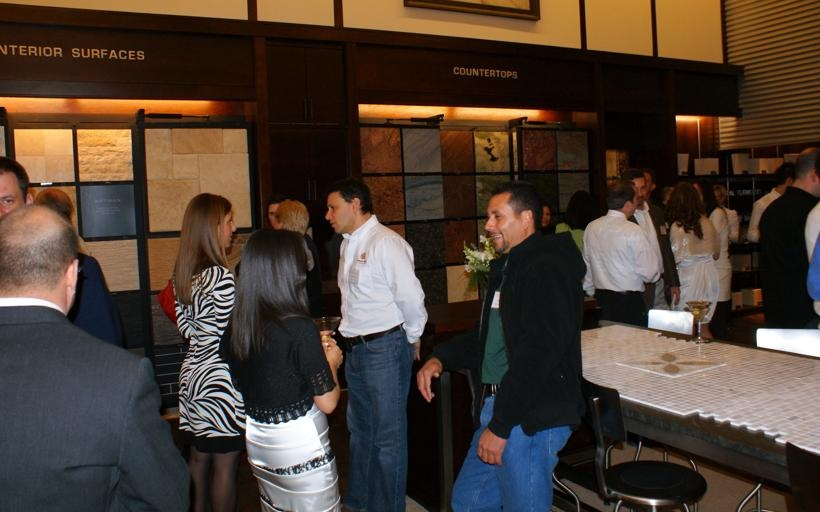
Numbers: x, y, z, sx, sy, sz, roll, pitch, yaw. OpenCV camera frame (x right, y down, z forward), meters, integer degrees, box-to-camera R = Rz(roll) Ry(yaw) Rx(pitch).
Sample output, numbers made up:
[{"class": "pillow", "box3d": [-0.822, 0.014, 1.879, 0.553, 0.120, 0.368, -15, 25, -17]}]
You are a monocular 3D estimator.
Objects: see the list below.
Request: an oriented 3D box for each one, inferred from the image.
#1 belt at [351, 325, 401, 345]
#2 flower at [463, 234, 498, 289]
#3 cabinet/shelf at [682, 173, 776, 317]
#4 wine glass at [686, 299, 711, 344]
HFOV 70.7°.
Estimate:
[{"class": "belt", "box3d": [-0.238, 0.527, 3.800, 0.191, 0.042, 0.173, -10, 1, -12]}, {"class": "flower", "box3d": [0.522, 0.080, 4.464, 0.222, 0.273, 0.196, 8, -5, -35]}, {"class": "cabinet/shelf", "box3d": [3.584, -0.004, 6.803, 0.598, 1.480, 0.458, -13, 24, -9]}, {"class": "wine glass", "box3d": [1.889, 0.445, 3.808, 0.172, 0.235, 0.171, 16, -15, -40]}]
